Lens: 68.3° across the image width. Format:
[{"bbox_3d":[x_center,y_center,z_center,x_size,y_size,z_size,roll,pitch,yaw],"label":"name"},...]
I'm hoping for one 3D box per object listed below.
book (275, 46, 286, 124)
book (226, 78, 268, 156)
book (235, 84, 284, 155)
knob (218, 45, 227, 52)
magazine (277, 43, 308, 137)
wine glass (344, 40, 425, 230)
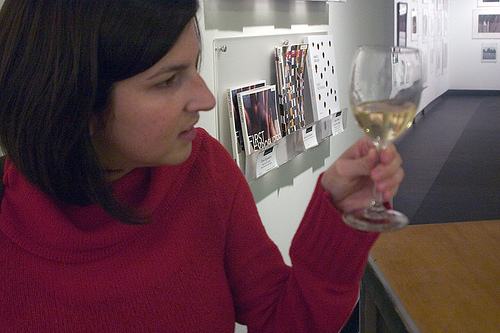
[{"bbox_3d":[0.153,-0.389,1.794,0.024,0.357,0.266,-3,20,14],"label":"book"},{"bbox_3d":[-0.018,-0.201,1.595,0.037,0.297,0.257,0,21,35],"label":"book"},{"bbox_3d":[0.035,-0.202,1.646,0.025,0.261,0.264,-2,18,37],"label":"book"},{"bbox_3d":[-0.110,-0.471,1.503,0.029,0.018,0.018,7,-13,44],"label":"knob"},{"bbox_3d":[0.210,-0.382,1.863,0.065,0.472,0.348,3,23,32],"label":"magazine"},{"bbox_3d":[0.325,-0.054,0.901,0.156,0.437,0.290,5,25,24],"label":"wine glass"}]
